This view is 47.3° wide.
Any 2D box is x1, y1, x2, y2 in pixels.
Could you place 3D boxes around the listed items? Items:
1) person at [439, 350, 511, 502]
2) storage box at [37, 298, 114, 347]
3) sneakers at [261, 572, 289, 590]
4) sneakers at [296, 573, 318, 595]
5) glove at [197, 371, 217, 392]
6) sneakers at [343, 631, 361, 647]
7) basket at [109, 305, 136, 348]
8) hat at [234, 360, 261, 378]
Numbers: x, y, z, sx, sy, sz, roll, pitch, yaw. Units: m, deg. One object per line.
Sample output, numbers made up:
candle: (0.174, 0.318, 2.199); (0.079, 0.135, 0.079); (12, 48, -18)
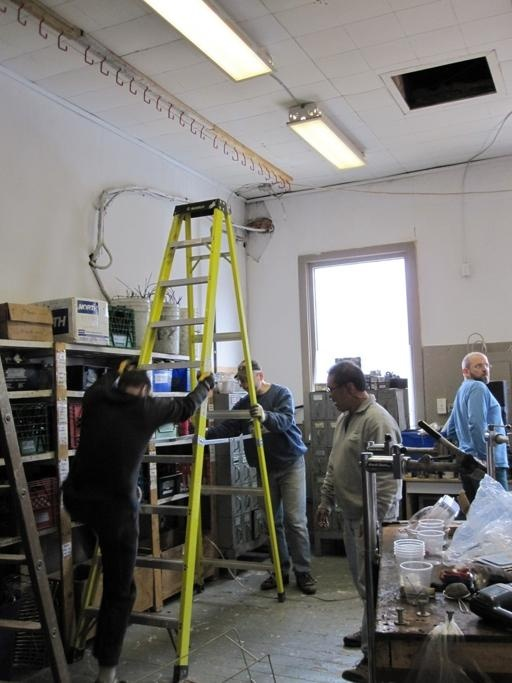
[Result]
person: (1.511, 0.550, 4.001); (0.447, 1.048, 1.038); (-4, -8, 15)
storage box: (-1.009, -0.087, 3.261); (0.300, 0.214, 0.307); (-1, -1, 43)
sneakers: (0.133, 1.609, 3.944); (0.078, 0.085, 0.233); (-8, -14, 39)
sneakers: (0.327, 1.569, 3.810); (0.127, 0.102, 0.225); (-2, -7, 2)
glove: (-0.244, 0.183, 2.745); (0.097, 0.092, 0.072); (-9, -5, 40)
sneakers: (0.476, 1.476, 2.881); (0.079, 0.081, 0.211); (-2, -19, 5)
basket: (-0.823, -0.094, 3.599); (0.163, 0.244, 0.081); (-3, 6, -41)
hat: (-0.043, 0.172, 3.881); (0.167, 0.083, 0.115); (-17, -2, -37)
